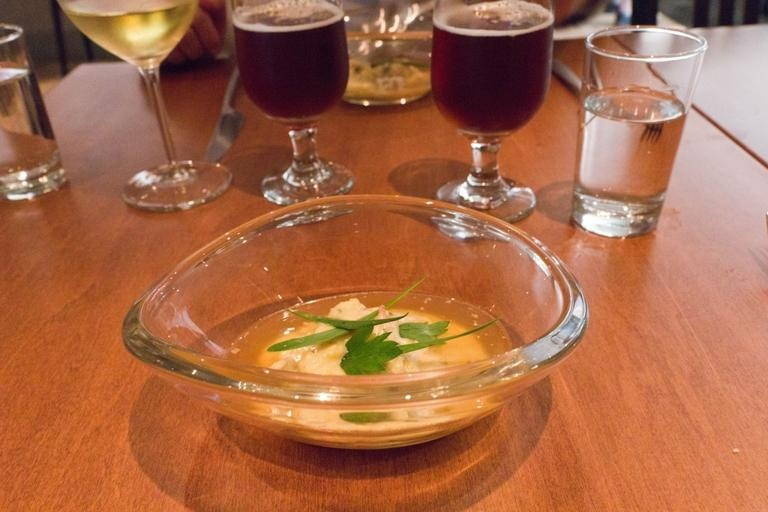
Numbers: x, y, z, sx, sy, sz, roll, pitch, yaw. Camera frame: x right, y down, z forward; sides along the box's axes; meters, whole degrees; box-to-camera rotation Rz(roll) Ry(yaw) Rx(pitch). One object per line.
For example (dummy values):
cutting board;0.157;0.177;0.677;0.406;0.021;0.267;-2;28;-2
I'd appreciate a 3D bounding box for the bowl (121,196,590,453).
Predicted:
bowl;-0.017;0.066;0.691;0.468;0.131;0.343;11;38;16
